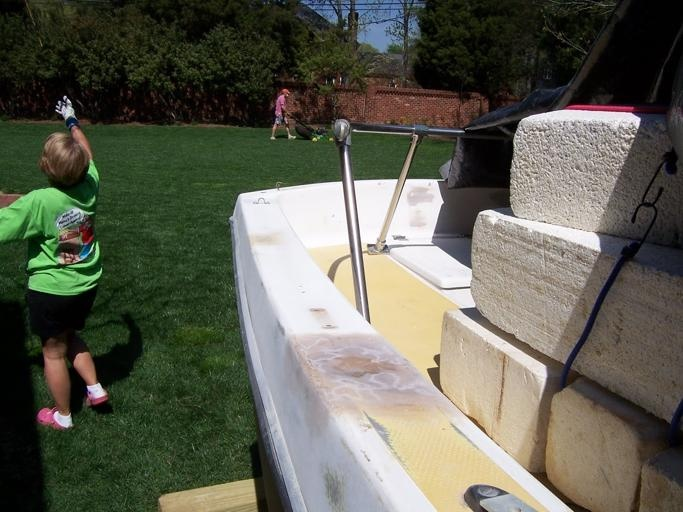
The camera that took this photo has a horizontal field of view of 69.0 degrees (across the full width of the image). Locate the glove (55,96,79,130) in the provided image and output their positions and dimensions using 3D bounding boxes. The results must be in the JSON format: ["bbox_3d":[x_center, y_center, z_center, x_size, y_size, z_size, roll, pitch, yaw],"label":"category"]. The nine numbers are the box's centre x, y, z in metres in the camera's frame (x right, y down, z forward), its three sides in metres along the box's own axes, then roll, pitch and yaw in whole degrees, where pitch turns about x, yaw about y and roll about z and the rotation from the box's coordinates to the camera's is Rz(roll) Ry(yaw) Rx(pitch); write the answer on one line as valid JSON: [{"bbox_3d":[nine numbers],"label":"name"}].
[{"bbox_3d":[-1.824,-0.956,3.295,0.121,0.098,0.267,-24,-1,-9],"label":"glove"}]

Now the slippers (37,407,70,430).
[{"bbox_3d":[-1.527,0.869,2.624,0.157,0.075,0.092,20,11,19],"label":"slippers"}]
